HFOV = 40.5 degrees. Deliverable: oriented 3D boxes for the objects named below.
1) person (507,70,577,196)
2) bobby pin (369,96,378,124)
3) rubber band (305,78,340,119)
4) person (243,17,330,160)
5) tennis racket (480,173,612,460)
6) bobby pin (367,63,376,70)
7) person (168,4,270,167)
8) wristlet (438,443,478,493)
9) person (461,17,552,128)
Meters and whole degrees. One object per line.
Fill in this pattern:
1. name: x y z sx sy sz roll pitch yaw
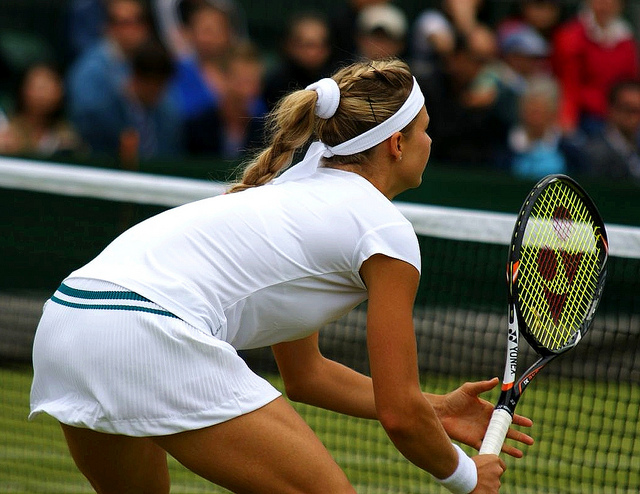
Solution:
1. person: 1.773 -0.893 6.807 0.335 1.461 0.925 1 1 5
2. bobby pin: 0.188 -0.483 3.078 0.012 0.110 0.007 -18 -10 35
3. rubber band: 0.011 -0.530 3.103 0.120 0.112 0.065 -13 -5 2
4. person: -0.268 -1.495 7.359 0.371 1.541 1.005 19 3 3
5. tennis racket: 1.024 0.009 3.818 0.127 0.519 1.877 0 52 30
6. bobby pin: 0.184 -0.648 3.123 0.006 0.008 0.056 -2 33 -29
7. person: -0.753 -1.522 6.771 0.374 1.603 1.058 -9 29 -6
8. wristlet: 0.510 0.813 3.144 0.109 0.203 0.110 -3 8 -8
9. person: 1.534 -1.366 7.014 0.266 0.930 0.829 16 10 17
